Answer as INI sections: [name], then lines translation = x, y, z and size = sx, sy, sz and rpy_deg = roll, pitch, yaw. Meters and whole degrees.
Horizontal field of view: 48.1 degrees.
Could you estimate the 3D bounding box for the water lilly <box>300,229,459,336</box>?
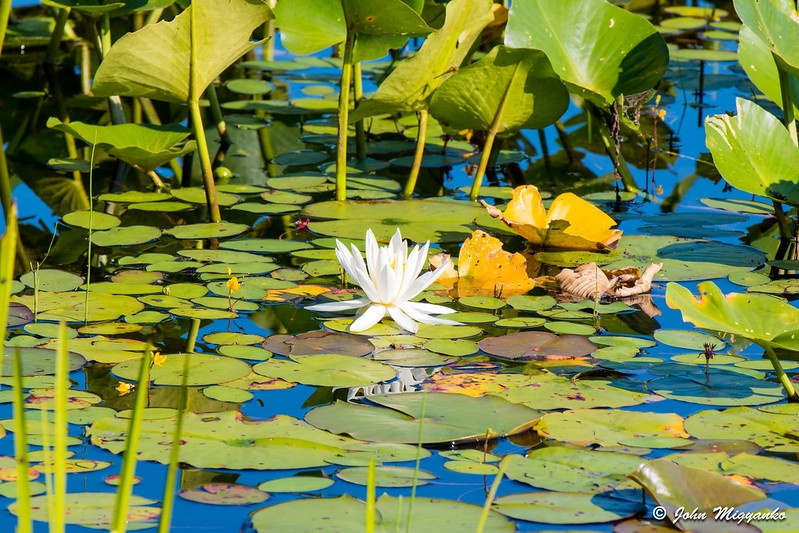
[water lilly]
translation = -0.038, 0.075, 3.301
size = 0.547, 0.186, 0.596
rpy_deg = -22, 29, -38
